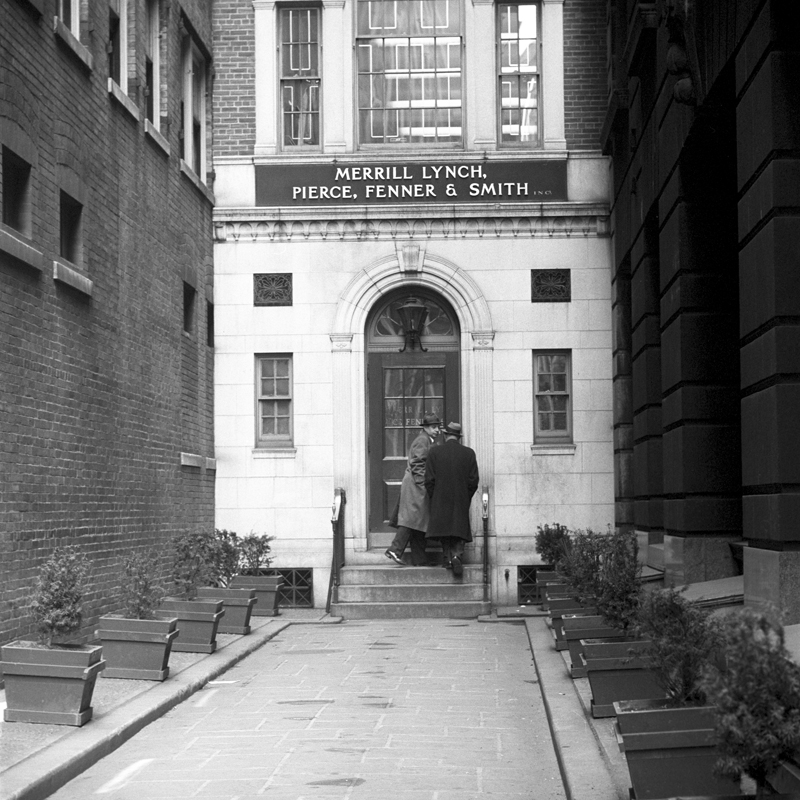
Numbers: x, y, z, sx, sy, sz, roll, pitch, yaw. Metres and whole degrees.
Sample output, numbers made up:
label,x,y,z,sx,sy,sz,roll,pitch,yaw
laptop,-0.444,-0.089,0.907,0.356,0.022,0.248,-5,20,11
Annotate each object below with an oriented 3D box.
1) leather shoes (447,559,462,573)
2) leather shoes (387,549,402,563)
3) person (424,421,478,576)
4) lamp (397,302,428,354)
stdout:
label,x,y,z,sx,sy,sz,roll,pitch,yaw
leather shoes,0.739,2.326,16.786,0.194,0.264,0.124,0,-1,10
leather shoes,-0.111,2.232,17.069,0.193,0.218,0.352,1,-4,-11
person,0.696,1.146,16.700,0.731,1.630,0.341,0,-2,0
lamp,0.161,-1.144,18.518,0.382,0.723,0.230,0,5,-1
